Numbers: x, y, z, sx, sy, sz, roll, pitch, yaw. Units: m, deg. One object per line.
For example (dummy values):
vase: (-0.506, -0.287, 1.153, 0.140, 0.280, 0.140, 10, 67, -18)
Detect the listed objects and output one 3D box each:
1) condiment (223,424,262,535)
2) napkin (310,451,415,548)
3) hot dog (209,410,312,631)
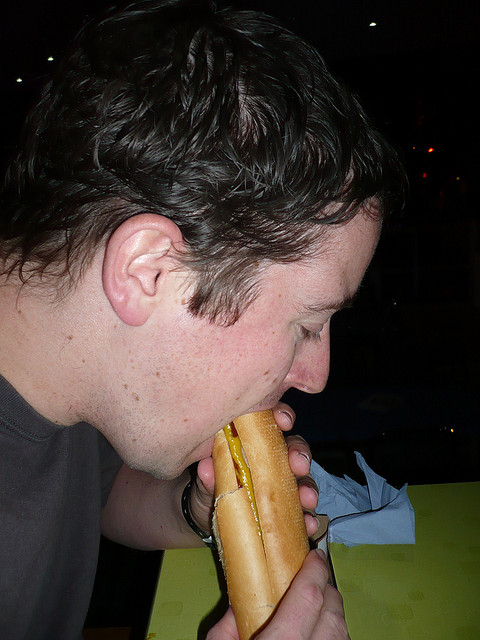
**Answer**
condiment: (-0.023, 0.348, 1.402, 0.055, 0.044, 0.292, -23, 59, 1)
napkin: (0.323, 0.472, 1.573, 0.193, 0.084, 0.234, -10, 33, 10)
hot dog: (0.028, 0.415, 1.349, 0.175, 0.150, 0.497, -17, 77, -1)
